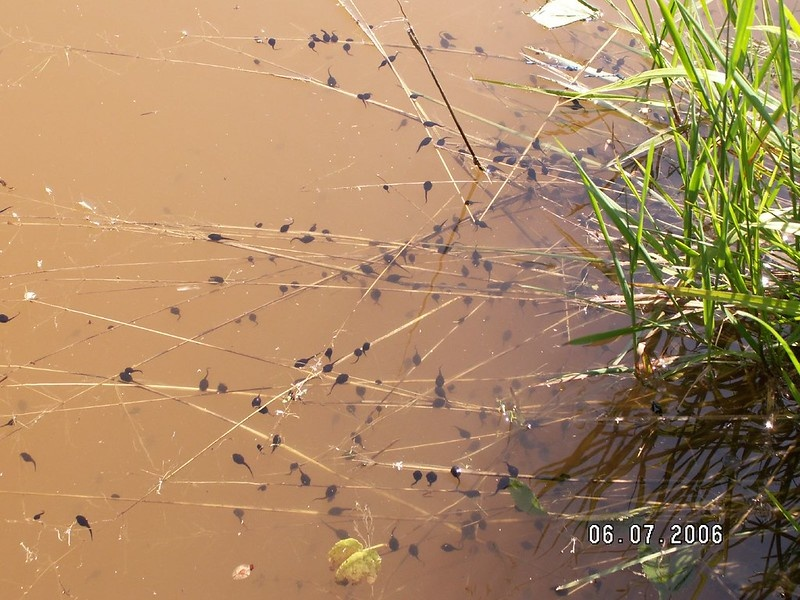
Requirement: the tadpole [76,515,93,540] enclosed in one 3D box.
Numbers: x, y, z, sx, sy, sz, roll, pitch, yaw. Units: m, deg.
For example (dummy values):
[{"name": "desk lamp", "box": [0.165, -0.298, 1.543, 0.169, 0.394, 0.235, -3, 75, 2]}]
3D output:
[{"name": "tadpole", "box": [-1.625, 1.150, 4.868, 0.096, 0.103, 0.026, 1, 7, 21]}]
